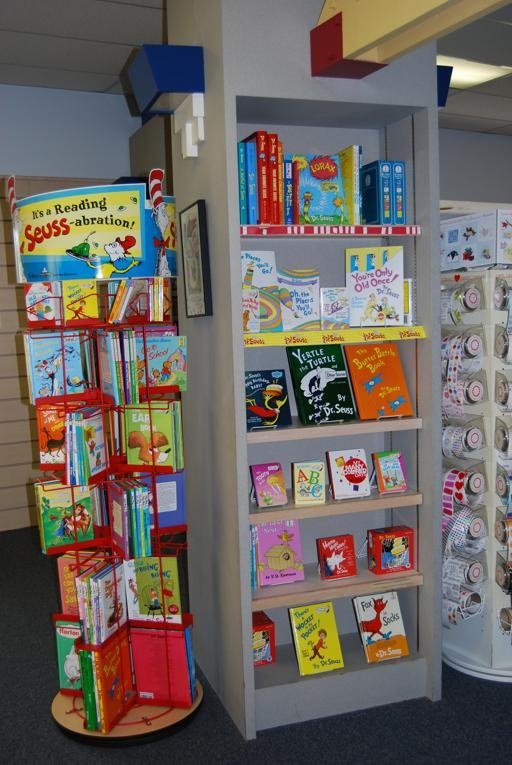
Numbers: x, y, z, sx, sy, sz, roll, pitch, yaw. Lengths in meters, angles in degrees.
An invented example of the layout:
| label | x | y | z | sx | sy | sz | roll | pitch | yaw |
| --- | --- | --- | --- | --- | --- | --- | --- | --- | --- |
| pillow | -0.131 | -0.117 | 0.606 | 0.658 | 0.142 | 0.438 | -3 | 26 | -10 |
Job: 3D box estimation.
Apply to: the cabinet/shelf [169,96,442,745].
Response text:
| label | x | y | z | sx | sy | sz | roll | pitch | yaw |
| --- | --- | --- | --- | --- | --- | --- | --- | --- | --- |
| cabinet/shelf | 0.209 | 0.088 | 2.600 | 0.959 | 2.369 | 0.785 | -2 | 1 | -21 |
